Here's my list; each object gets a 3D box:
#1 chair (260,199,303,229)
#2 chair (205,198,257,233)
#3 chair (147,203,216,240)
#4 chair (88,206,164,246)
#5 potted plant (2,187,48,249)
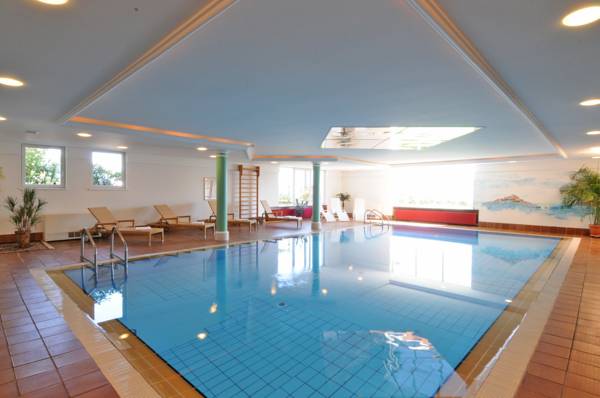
[{"bbox_3d":[-0.897,0.707,14.491,1.723,0.951,0.735,8,1,3],"label":"chair"},{"bbox_3d":[-2.747,0.636,13.187,1.915,1.063,0.748,2,0,17],"label":"chair"},{"bbox_3d":[-4.050,0.742,11.632,2.321,1.024,1.073,0,1,22],"label":"chair"},{"bbox_3d":[-5.470,0.831,10.176,3.004,1.337,1.143,2,1,22],"label":"chair"},{"bbox_3d":[-7.599,0.491,9.127,0.897,1.612,1.161,0,-1,-38],"label":"potted plant"}]
